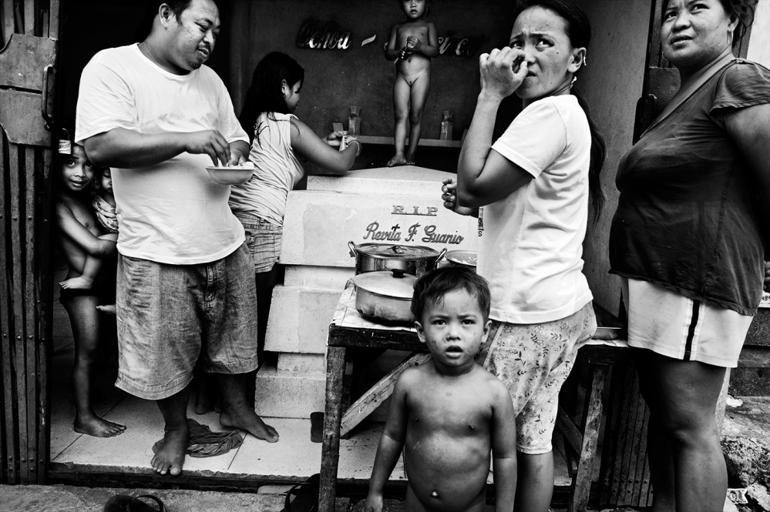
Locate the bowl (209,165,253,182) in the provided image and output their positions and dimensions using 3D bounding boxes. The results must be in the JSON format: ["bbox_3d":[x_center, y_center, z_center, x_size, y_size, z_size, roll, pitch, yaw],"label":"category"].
[{"bbox_3d":[-0.894,-0.466,4.284,0.233,0.112,0.166,4,9,2],"label":"bowl"}]

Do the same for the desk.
[{"bbox_3d":[0.363,0.545,4.574,1.374,1.041,1.422,2,18,-1],"label":"desk"}]
